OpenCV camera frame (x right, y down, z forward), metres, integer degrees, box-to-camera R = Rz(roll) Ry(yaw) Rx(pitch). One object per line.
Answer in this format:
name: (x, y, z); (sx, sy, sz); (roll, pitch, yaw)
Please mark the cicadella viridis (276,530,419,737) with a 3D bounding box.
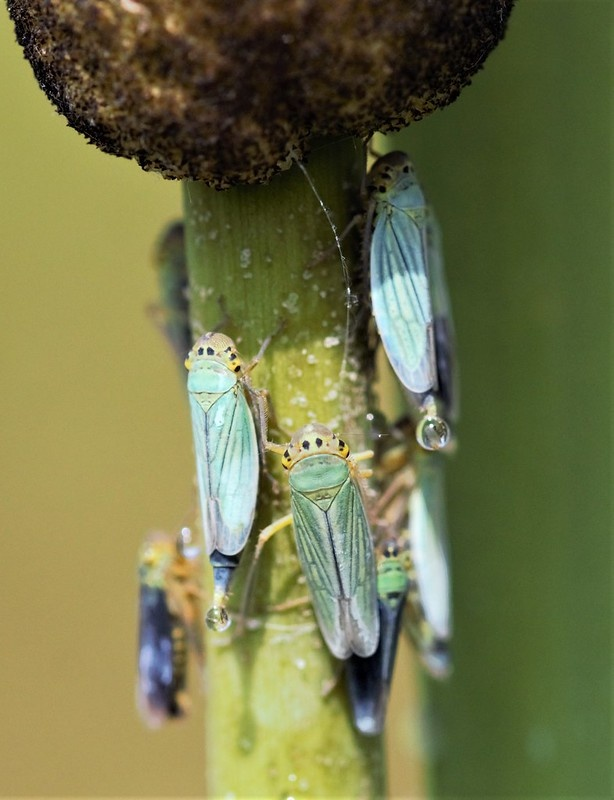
cicadella viridis: (0.160, 0.586, 2.555); (0.156, 0.426, 0.164); (0, -5, 18)
